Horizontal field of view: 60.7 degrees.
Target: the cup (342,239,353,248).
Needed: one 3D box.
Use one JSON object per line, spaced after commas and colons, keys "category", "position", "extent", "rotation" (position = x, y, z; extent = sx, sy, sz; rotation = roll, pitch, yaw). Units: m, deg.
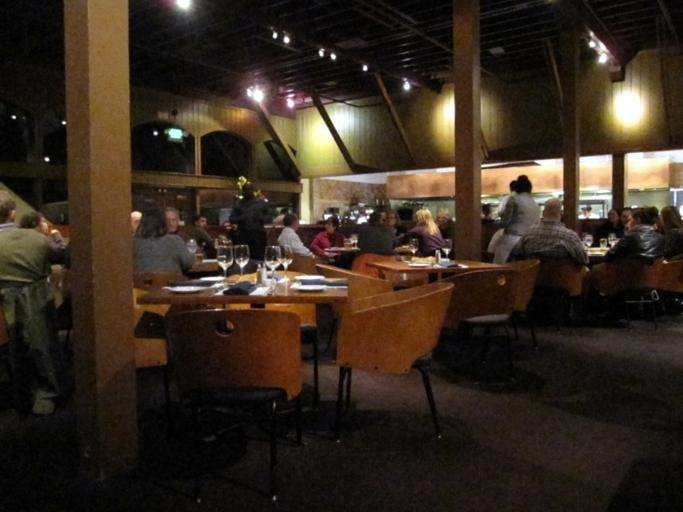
{"category": "cup", "position": [0.044, -0.184, 7.507], "extent": [0.136, 0.143, 0.187], "rotation": [0, -3, 12]}
